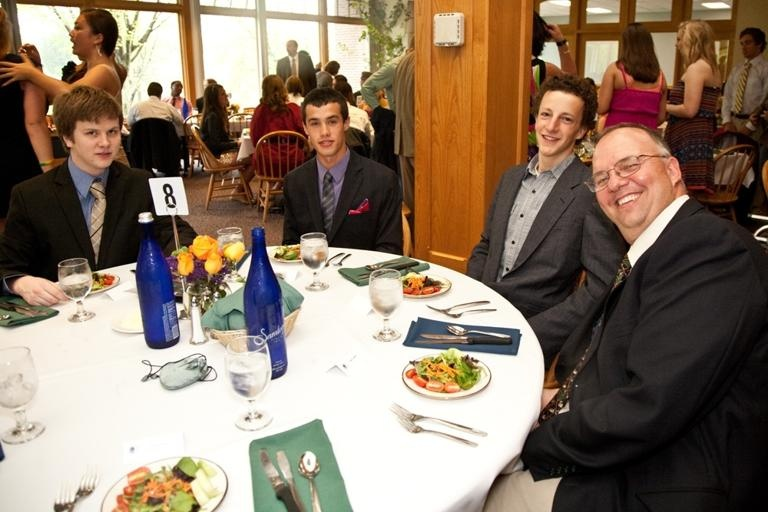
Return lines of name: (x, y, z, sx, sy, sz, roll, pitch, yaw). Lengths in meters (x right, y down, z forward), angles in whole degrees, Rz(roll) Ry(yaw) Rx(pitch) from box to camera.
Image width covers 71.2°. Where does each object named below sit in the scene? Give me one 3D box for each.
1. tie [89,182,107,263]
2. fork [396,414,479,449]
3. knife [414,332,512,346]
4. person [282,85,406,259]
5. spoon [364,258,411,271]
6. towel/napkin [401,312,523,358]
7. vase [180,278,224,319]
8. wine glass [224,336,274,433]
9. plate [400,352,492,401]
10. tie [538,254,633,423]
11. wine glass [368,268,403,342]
tie: (-1.296, -0.174, 2.442, 0.059, 0.416, 0.058, 0, -6, -4)
fork: (0.134, 0.461, 1.393, 0.222, 0.026, 0.039, 6, 23, 21)
knife: (0.252, 0.277, 1.744, 0.319, 0.028, 0.100, -2, 24, 9)
person: (-0.235, -0.458, 2.880, 0.652, 0.835, 0.461, -2, 21, 2)
spoon: (0.009, 0.021, 2.192, 0.065, 0.035, 0.225, 19, 19, 39)
towel/napkin: (0.253, 0.263, 1.741, 0.261, 0.040, 0.150, 3, 25, 15)
vase: (-0.600, 0.130, 1.823, 0.142, 0.153, 0.109, 7, 8, 2)
wine glass: (-0.364, 0.338, 1.440, 0.124, 0.231, 0.136, -3, 11, -10)
plate: (0.187, 0.349, 1.588, 0.247, 0.062, 0.261, 1, 20, -2)
tie: (0.695, 0.288, 1.837, 0.063, 0.589, 0.083, 31, 12, 7)
wine glass: (0.006, 0.161, 1.738, 0.112, 0.211, 0.119, 0, 14, 0)
